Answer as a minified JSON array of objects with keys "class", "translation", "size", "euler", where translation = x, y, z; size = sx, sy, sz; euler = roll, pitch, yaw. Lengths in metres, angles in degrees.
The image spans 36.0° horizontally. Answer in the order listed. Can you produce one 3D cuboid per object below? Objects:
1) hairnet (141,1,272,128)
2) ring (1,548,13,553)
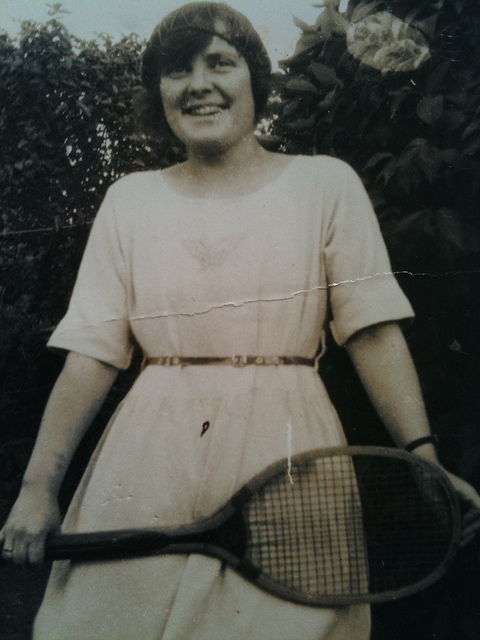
[{"class":"hairnet","translation":[-0.125,-0.892,2.617],"size":[0.459,0.457,0.121],"euler":[-4,11,14]},{"class":"ring","translation":[-0.771,0.764,2.446],"size":[0.040,0.014,0.008],"euler":[-5,11,15]}]
